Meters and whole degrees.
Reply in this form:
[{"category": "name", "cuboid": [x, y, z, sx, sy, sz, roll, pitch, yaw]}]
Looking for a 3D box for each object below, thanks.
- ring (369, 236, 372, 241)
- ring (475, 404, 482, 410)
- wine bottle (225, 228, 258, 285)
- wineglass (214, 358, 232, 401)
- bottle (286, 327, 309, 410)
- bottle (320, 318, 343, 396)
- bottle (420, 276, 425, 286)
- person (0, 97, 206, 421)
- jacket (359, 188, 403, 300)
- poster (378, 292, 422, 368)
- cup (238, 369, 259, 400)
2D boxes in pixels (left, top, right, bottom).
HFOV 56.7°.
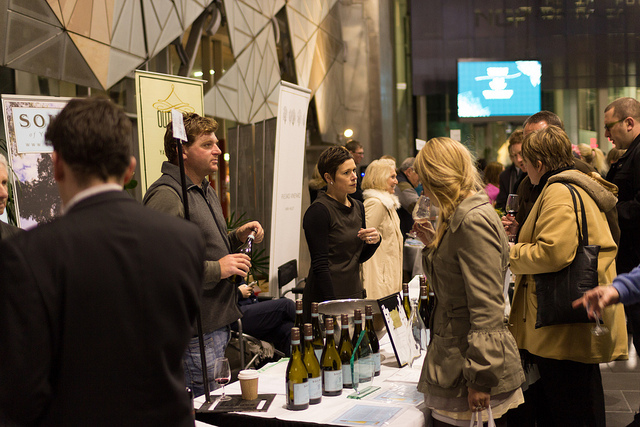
[{"category": "ring", "cuboid": [0.338, 0.167, 3.989, 0.026, 0.031, 0.028, 0, 1, 0]}, {"category": "ring", "cuboid": [0.750, 0.918, 2.804, 0.023, 0.026, 0.006, -3, 11, -4]}, {"category": "wine bottle", "cuboid": [-0.397, 0.222, 3.326, 0.096, 0.301, 0.104, 5, -28, 3]}, {"category": "wineglass", "cuboid": [-0.499, 0.826, 3.007, 0.075, 0.236, 0.132, -5, 11, -13]}, {"category": "bottle", "cuboid": [-0.117, 0.745, 2.953, 0.119, 0.404, 0.199, -3, 11, -3]}, {"category": "bottle", "cuboid": [0.053, 0.732, 3.031, 0.109, 0.411, 0.078, -3, 11, -3]}, {"category": "bottle", "cuboid": [0.620, 0.416, 3.582, 0.036, 0.073, 0.037, 0, 0, 0]}, {"category": "person", "cuboid": [-0.784, 0.183, 2.198, 0.694, 1.205, 0.335, -5, 11, -14]}, {"category": "jacket", "cuboid": [0.600, 0.304, 5.674, 0.365, 1.029, 0.624, -1, 11, 6]}, {"category": "poster", "cuboid": [0.471, 0.694, 3.462, 0.030, 0.457, 0.372, -18, -3, 26]}, {"category": "cup", "cuboid": [-0.356, 0.863, 2.983, 0.110, 0.120, 0.119, -3, -5, 0]}]
